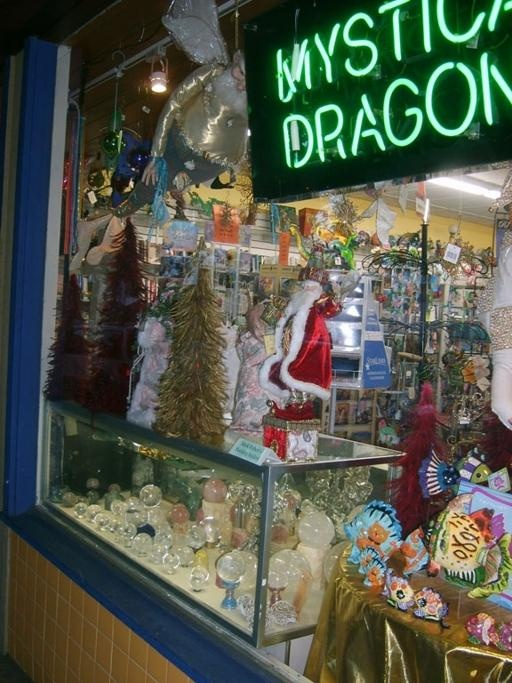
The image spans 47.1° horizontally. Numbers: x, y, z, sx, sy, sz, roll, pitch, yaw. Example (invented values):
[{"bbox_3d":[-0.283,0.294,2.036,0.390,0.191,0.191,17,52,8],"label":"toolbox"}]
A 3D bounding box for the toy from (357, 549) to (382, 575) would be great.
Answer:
[{"bbox_3d":[0.241,0.464,1.253,0.048,0.060,0.015,13,12,44],"label":"toy"}]

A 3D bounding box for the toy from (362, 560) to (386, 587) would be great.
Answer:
[{"bbox_3d":[0.249,0.488,1.245,0.018,0.062,0.051,5,-2,-38],"label":"toy"}]

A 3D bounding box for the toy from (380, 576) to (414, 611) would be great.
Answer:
[{"bbox_3d":[0.281,0.495,1.161,0.020,0.068,0.071,4,2,-43],"label":"toy"}]

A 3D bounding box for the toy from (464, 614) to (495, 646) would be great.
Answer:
[{"bbox_3d":[0.391,0.497,1.022,0.044,0.047,0.021,-14,-26,33],"label":"toy"}]
